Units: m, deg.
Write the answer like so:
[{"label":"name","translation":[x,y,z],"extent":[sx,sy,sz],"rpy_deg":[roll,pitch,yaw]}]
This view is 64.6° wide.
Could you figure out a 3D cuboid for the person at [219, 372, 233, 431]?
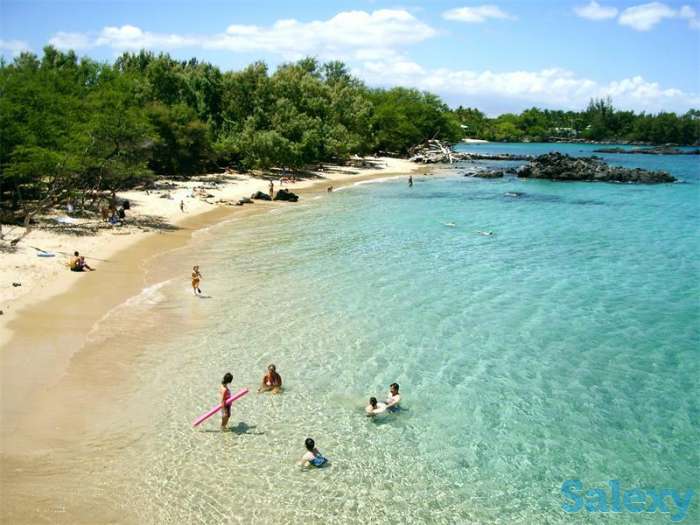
[{"label":"person","translation":[-4.794,5.372,21.397],"extent":[0.801,2.475,1.086],"rpy_deg":[-4,37,-15]}]

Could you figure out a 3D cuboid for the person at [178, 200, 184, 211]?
[{"label":"person","translation":[-15.738,-5.285,51.839],"extent":[0.398,0.892,1.275],"rpy_deg":[-6,15,-18]}]

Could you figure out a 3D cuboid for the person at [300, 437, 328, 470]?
[{"label":"person","translation":[-1.320,6.810,19.898],"extent":[0.777,0.851,0.690],"rpy_deg":[-28,40,-16]}]

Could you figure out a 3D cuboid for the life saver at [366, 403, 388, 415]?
[{"label":"life saver","translation":[1.062,5.704,22.030],"extent":[0.849,0.430,0.331],"rpy_deg":[-7,16,-23]}]

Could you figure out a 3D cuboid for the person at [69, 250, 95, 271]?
[{"label":"person","translation":[-16.121,0.020,33.275],"extent":[1.370,0.858,0.887],"rpy_deg":[-8,16,-27]}]

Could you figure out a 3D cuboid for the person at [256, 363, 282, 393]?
[{"label":"person","translation":[-3.439,4.852,23.433],"extent":[1.087,0.976,0.739],"rpy_deg":[7,27,5]}]

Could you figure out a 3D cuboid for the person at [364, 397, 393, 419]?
[{"label":"person","translation":[1.125,5.721,22.075],"extent":[0.663,0.790,0.360],"rpy_deg":[-11,47,-1]}]
